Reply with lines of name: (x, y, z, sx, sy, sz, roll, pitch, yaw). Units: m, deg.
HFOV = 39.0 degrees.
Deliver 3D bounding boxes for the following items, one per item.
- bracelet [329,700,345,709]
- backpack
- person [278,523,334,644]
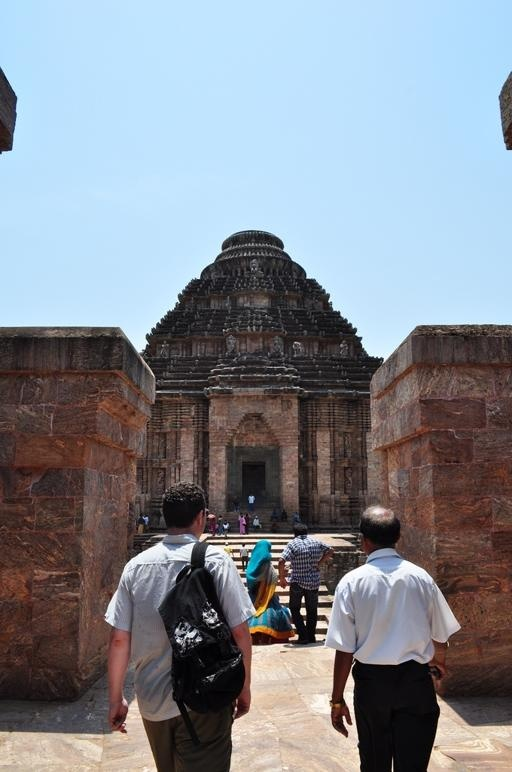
bracelet: (0.396, 1.513, 3.426, 0.049, 0.021, 0.058, -9, -12, 44)
backpack: (-0.220, 1.056, 3.127, 0.317, 0.666, 0.384, -17, -16, -2)
person: (0.583, 2.313, 8.465, 0.600, 1.363, 1.007, -1, -11, 2)
